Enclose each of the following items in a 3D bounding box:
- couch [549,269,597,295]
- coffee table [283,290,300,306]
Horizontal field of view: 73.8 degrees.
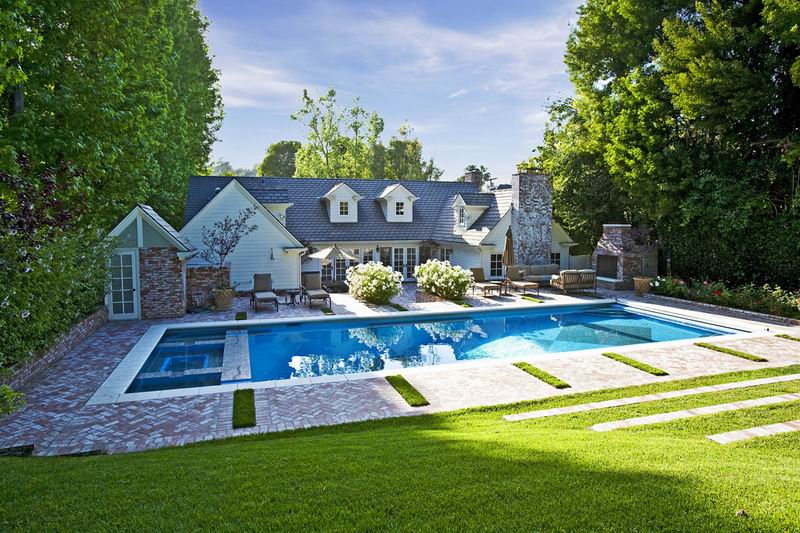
[{"bbox_3d":[10.347,0.874,31.738,2.466,1.324,0.921,-2,7,-12],"label":"couch"},{"bbox_3d":[-5.844,1.724,29.387,0.938,0.768,0.916,-1,0,-25],"label":"coffee table"}]
